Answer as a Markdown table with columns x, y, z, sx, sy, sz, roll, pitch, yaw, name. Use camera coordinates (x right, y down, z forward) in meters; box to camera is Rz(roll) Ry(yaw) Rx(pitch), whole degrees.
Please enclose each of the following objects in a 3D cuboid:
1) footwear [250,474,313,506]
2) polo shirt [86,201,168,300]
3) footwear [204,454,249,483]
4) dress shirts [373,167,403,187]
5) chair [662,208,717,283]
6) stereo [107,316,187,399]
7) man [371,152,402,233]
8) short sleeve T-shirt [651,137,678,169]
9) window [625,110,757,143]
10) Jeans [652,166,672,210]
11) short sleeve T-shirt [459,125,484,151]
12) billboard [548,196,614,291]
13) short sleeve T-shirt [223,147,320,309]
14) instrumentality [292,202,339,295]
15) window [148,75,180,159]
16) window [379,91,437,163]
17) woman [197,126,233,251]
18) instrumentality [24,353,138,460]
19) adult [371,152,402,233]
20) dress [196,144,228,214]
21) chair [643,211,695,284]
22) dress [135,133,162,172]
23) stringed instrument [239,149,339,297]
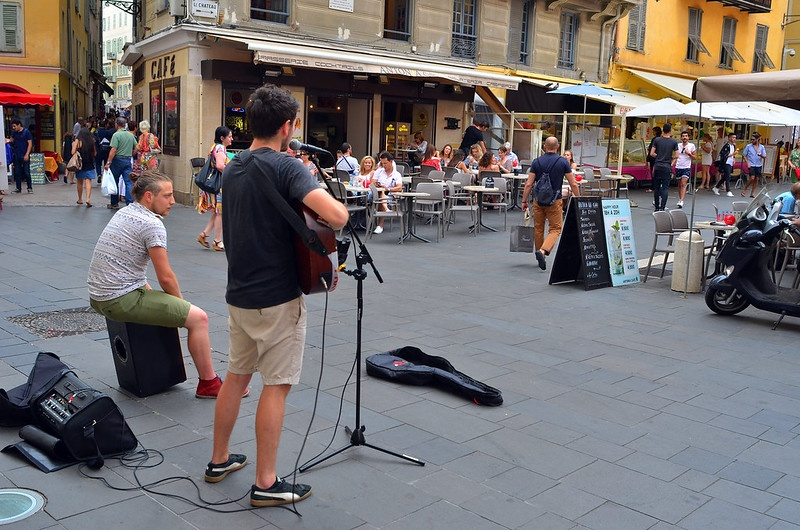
| x | y | z | sx | sy | sz | roll | pitch | yaw | name |
| --- | --- | --- | --- | --- | --- | --- | --- | --- | --- |
| -0.878 | 1.649 | 4.891 | 0.477 | 0.191 | 0.171 | 0 | 1 | -15 | footwear |
| -2.435 | -0.118 | 5.796 | 0.692 | 0.852 | 0.345 | -2 | 10 | -12 | polo shirt |
| -1.344 | 1.536 | 5.106 | 0.130 | 0.135 | 0.356 | 4 | 7 | 31 | footwear |
| -0.286 | -1.871 | 14.320 | 0.714 | 0.526 | 0.373 | 2 | -3 | 8 | dress shirts |
| 4.481 | -0.330 | 10.622 | 0.856 | 1.062 | 0.792 | 6 | 10 | 35 | chair |
| -2.408 | 0.736 | 6.205 | 0.629 | 0.823 | 0.622 | 5 | 23 | 14 | stereo |
| -0.320 | -1.560 | 14.344 | 0.607 | 1.752 | 1.185 | -1 | 9 | -3 | man |
| 7.207 | -3.068 | 18.059 | 0.607 | 0.866 | 0.521 | 5 | 10 | 27 | short sleeve T-shirt |
| 10.028 | -4.885 | 23.399 | 5.177 | 0.741 | 3.697 | 4 | 14 | 4 | window |
| 7.216 | -2.143 | 18.289 | 0.574 | 1.279 | 0.425 | 5 | 5 | 23 | Jeans |
| 2.156 | -3.735 | 19.677 | 0.621 | 0.841 | 0.874 | -2 | 9 | -14 | short sleeve T-shirt |
| 2.861 | -0.356 | 10.330 | 0.939 | 1.408 | 0.564 | -8 | 12 | -39 | billboard |
| -0.925 | -0.250 | 4.662 | 0.634 | 1.142 | 1.082 | -5 | 9 | -40 | short sleeve T-shirt |
| -0.608 | -0.142 | 4.633 | 0.175 | 0.749 | 0.319 | -14 | 35 | -23 | instrumentality |
| -6.730 | -4.189 | 18.708 | 0.132 | 1.944 | 2.839 | -7 | 13 | -33 | window |
| 0.096 | -4.417 | 21.558 | 2.305 | 1.980 | 0.816 | -8 | 14 | -34 | window |
| -3.135 | -1.327 | 11.452 | 0.866 | 2.068 | 0.698 | 4 | 9 | 13 | woman |
| -2.725 | 1.157 | 5.409 | 0.675 | 0.507 | 1.308 | -11 | 19 | -43 | instrumentality |
| -0.319 | -1.556 | 14.320 | 0.607 | 1.752 | 1.137 | -1 | 9 | -3 | adult |
| -3.438 | -1.527 | 12.248 | 0.857 | 1.207 | 0.578 | 3 | 4 | 34 | dress |
| 4.526 | -0.290 | 10.743 | 0.870 | 1.093 | 0.830 | 7 | 11 | 30 | chair |
| -6.276 | -2.739 | 16.334 | 0.324 | 0.922 | 0.358 | 12 | 13 | 42 | dress |
| -0.695 | -0.229 | 4.687 | 0.249 | 1.030 | 0.624 | -27 | 16 | 1 | stringed instrument |
